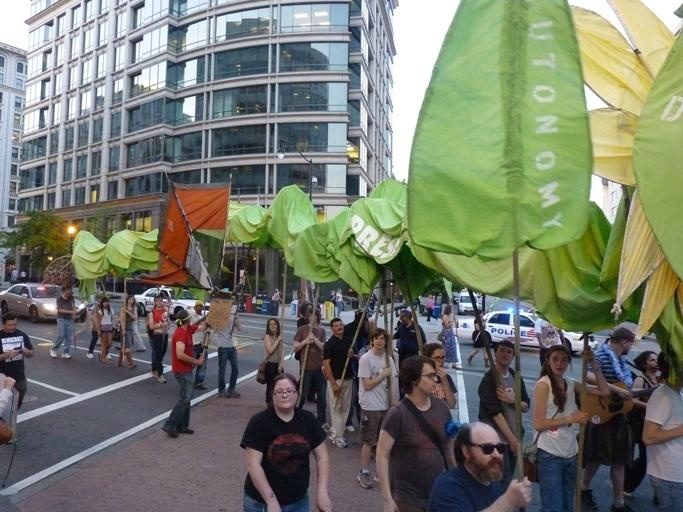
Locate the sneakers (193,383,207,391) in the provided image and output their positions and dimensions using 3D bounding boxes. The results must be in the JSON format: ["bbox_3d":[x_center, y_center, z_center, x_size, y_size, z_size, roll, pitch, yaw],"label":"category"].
[{"bbox_3d":[-3.222,2.976,12.759,0.393,0.186,0.137,3,-4,-8],"label":"sneakers"}]

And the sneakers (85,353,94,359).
[{"bbox_3d":[-7.051,2.813,15.769,0.137,0.153,0.351,3,-9,-41],"label":"sneakers"}]

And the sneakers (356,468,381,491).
[{"bbox_3d":[0.358,3.025,7.780,0.281,0.212,0.406,2,1,0],"label":"sneakers"}]

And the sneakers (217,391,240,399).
[{"bbox_3d":[-2.404,2.963,11.982,0.426,0.200,0.168,2,-10,-7],"label":"sneakers"}]

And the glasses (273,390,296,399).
[{"bbox_3d":[-0.528,1.308,5.323,0.227,0.053,0.095,1,1,-15],"label":"glasses"}]

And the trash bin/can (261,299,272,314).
[{"bbox_3d":[-4.421,3.027,33.020,0.641,0.950,0.682,-1,-8,15],"label":"trash bin/can"}]

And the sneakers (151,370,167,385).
[{"bbox_3d":[-4.359,2.885,13.313,0.190,0.272,0.620,2,-7,-37],"label":"sneakers"}]

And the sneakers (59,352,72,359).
[{"bbox_3d":[-7.567,2.747,15.429,0.333,0.161,0.129,-1,-4,16],"label":"sneakers"}]
